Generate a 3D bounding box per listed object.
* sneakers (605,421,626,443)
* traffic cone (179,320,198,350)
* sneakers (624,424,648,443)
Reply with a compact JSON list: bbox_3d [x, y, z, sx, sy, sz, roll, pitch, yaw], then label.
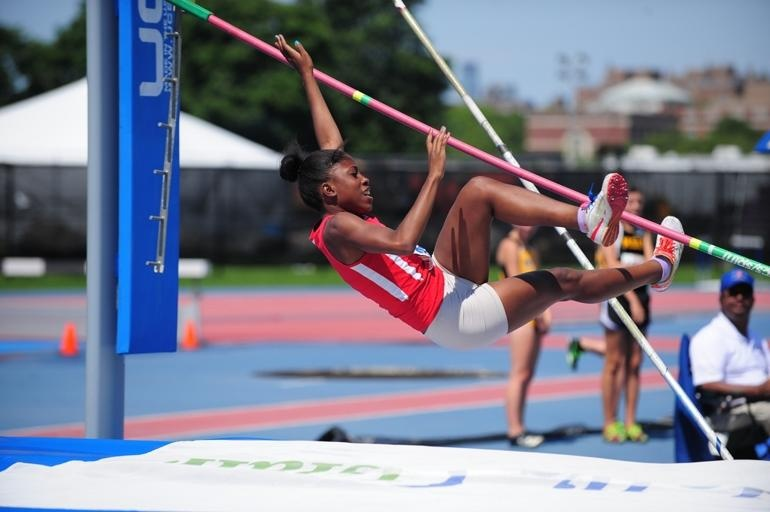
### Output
[{"bbox_3d":[2.259,1.741,11.219,0.234,0.169,0.214,4,15,18],"label":"sneakers"},{"bbox_3d":[-2.576,1.064,15.103,0.338,0.355,0.343,-2,-3,-2],"label":"traffic cone"},{"bbox_3d":[2.496,1.750,11.245,0.221,0.155,0.171,1,14,5],"label":"sneakers"}]
